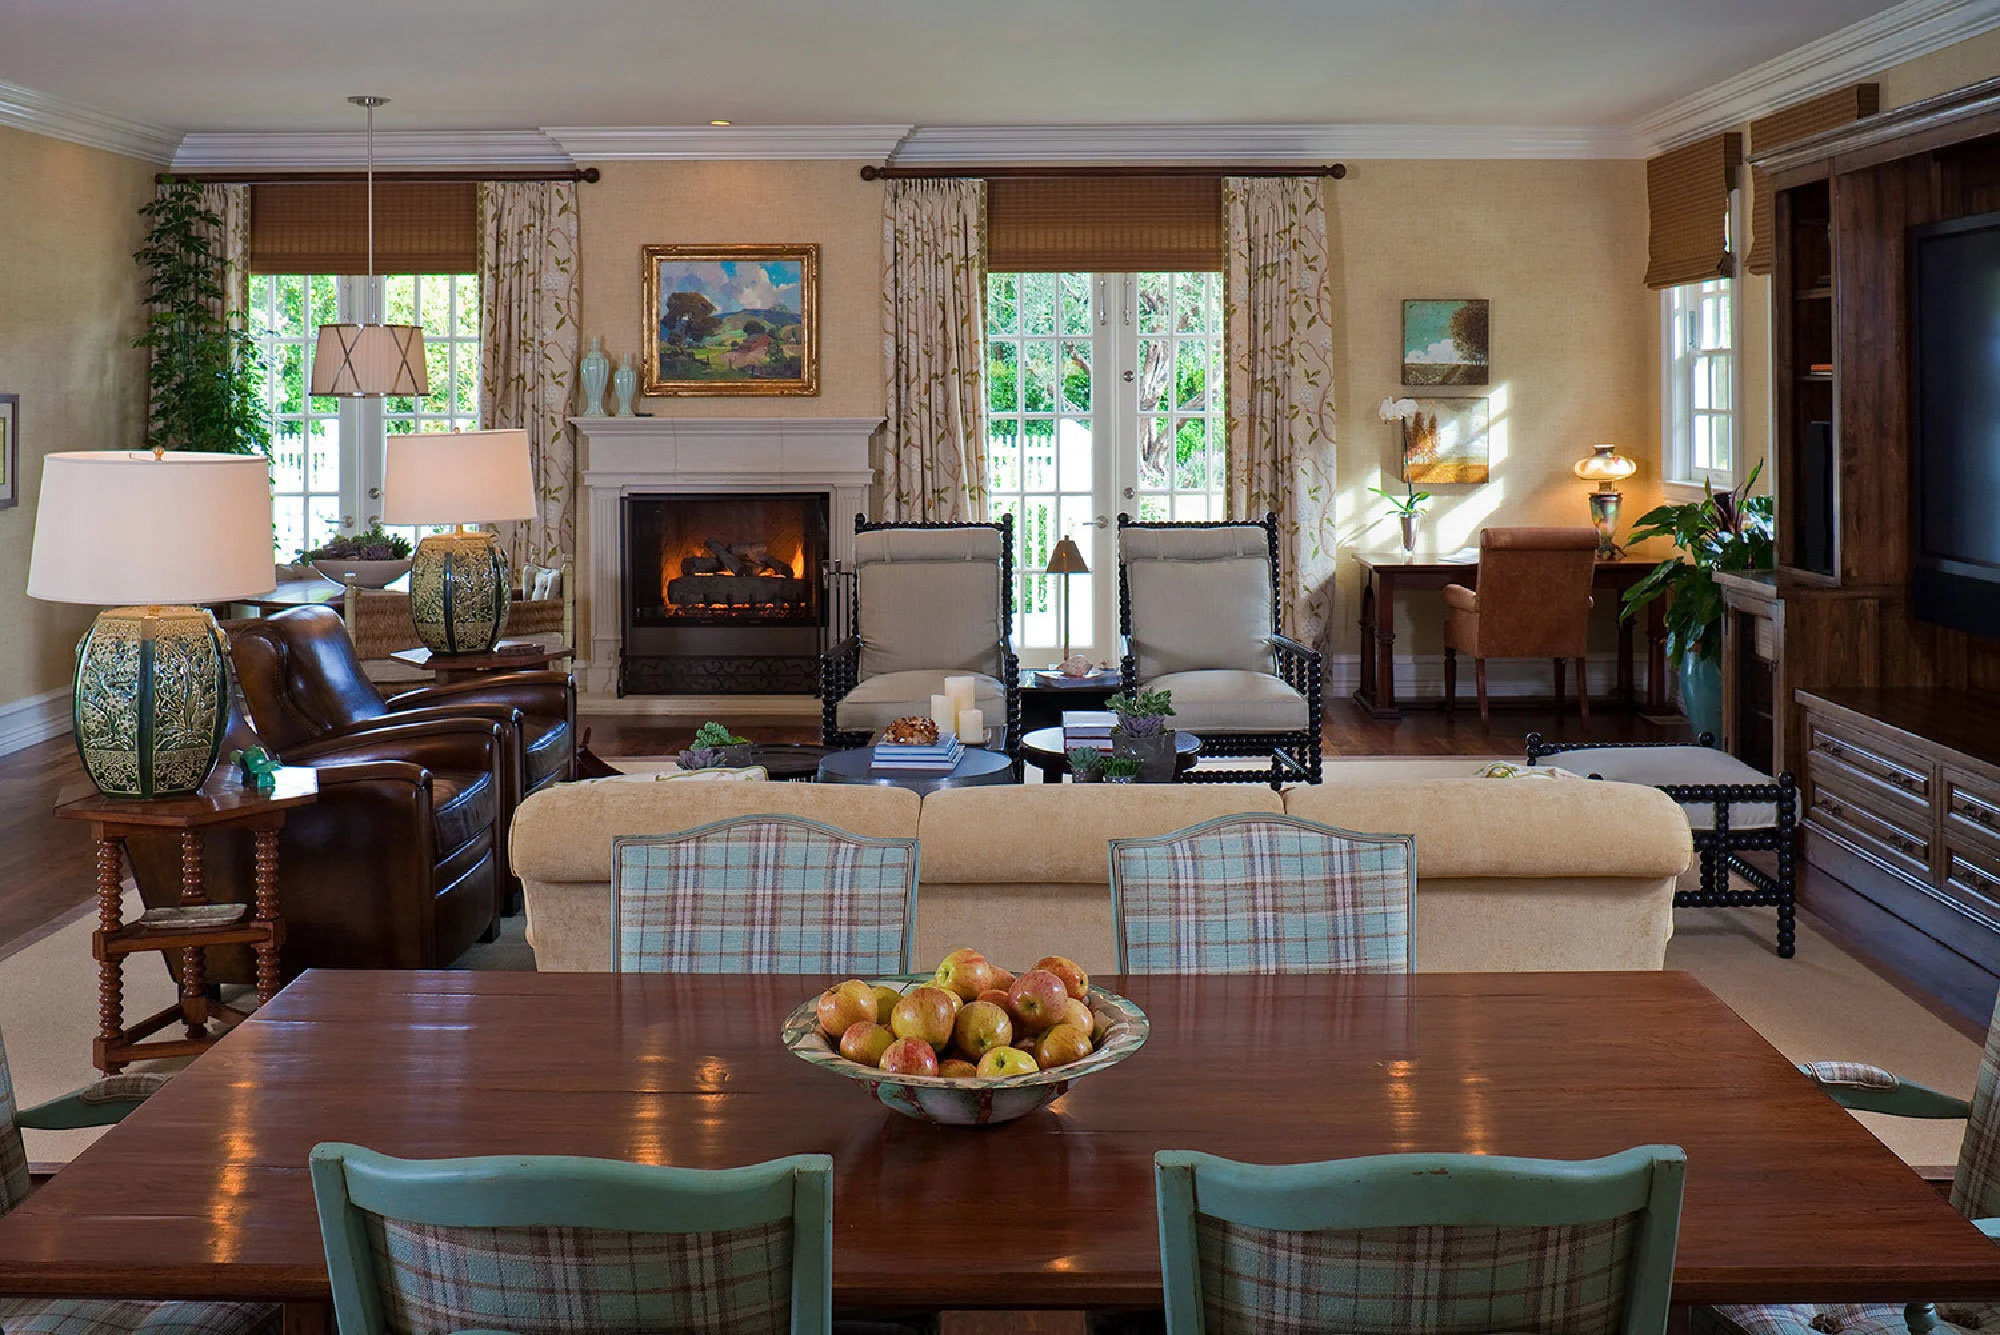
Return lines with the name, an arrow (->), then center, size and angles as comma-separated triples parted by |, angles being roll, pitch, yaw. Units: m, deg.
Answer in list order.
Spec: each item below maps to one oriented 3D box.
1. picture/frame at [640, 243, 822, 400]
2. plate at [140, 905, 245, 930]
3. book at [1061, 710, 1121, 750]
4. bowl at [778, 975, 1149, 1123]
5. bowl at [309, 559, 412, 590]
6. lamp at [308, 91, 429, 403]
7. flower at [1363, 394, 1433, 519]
picture/frame -> -1.614, -2.118, 8.659 | 1.013, 0.748, 0.079 | 0, 8, -1
plate -> -2.132, 0.661, 3.778 | 0.159, 0.020, 0.095 | 0, 3, -11
book -> 0.348, 0.247, 5.589 | 0.193, 0.116, 0.133 | 0, 16, 5
bowl -> -0.039, 0.574, 2.038 | 0.500, 0.090, 0.488 | -2, -2, 0
bowl -> -3.476, -0.508, 7.784 | 0.406, 0.108, 0.381 | 0, 2, 0
lamp -> -3.682, -2.346, 8.226 | 0.574, 1.569, 1.218 | -4, 9, -24
flower -> 2.466, -1.252, 8.726 | 0.364, 0.724, 0.237 | 2, 9, 13
